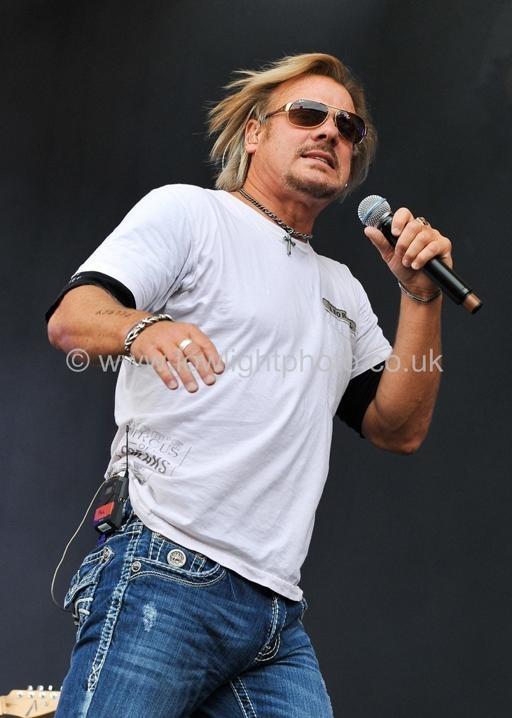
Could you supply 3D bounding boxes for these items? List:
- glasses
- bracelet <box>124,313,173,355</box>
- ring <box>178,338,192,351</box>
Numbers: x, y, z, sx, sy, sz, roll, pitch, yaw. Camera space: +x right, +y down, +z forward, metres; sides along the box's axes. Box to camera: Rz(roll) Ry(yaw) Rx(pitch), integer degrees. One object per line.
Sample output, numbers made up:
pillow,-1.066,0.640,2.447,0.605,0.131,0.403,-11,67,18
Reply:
glasses,0.148,-0.573,2.115,0.240,0.098,0.180,-1,-5,-9
bracelet,-0.191,-0.053,1.456,0.024,0.076,0.072,42,43,16
ring,-0.117,-0.025,1.394,0.006,0.019,0.018,29,66,-5
